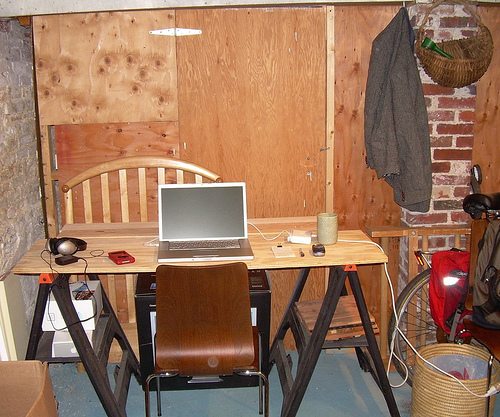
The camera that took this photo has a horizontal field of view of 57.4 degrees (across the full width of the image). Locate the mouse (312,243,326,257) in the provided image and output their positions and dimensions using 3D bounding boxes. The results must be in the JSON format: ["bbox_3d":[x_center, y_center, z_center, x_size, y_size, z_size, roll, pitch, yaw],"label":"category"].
[{"bbox_3d":[0.354,0.217,2.365,0.052,0.046,0.056,-2,4,-4],"label":"mouse"}]

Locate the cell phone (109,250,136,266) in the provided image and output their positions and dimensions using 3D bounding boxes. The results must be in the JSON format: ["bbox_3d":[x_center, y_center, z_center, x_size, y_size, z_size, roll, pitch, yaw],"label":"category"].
[{"bbox_3d":[-0.657,0.255,2.336,0.100,0.034,0.173,-13,17,-40],"label":"cell phone"}]

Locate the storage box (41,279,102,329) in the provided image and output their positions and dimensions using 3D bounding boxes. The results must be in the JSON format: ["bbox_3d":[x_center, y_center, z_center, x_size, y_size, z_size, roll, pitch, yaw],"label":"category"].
[{"bbox_3d":[-0.978,0.490,2.527,0.205,0.160,0.314,0,10,-5],"label":"storage box"}]

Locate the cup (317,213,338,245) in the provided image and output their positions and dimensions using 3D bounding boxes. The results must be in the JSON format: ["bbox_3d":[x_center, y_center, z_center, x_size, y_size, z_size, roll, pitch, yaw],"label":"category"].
[{"bbox_3d":[0.422,0.116,2.486,0.115,0.173,0.153,0,7,3],"label":"cup"}]

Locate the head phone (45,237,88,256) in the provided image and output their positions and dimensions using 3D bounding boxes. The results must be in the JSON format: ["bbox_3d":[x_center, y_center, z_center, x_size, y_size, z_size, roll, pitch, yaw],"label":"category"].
[{"bbox_3d":[-0.952,0.187,2.397,0.099,0.062,0.133,5,2,11],"label":"head phone"}]

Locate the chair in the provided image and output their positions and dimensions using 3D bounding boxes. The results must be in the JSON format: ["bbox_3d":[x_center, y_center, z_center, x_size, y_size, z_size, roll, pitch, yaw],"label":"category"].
[{"bbox_3d":[-0.204,0.514,2.056,0.449,0.871,0.555,0,33,-3],"label":"chair"}]

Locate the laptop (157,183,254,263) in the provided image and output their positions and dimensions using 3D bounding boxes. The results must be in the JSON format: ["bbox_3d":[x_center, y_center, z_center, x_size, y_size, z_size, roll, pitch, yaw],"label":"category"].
[{"bbox_3d":[-0.261,0.068,2.499,0.436,0.299,0.430,-2,25,-4],"label":"laptop"}]
